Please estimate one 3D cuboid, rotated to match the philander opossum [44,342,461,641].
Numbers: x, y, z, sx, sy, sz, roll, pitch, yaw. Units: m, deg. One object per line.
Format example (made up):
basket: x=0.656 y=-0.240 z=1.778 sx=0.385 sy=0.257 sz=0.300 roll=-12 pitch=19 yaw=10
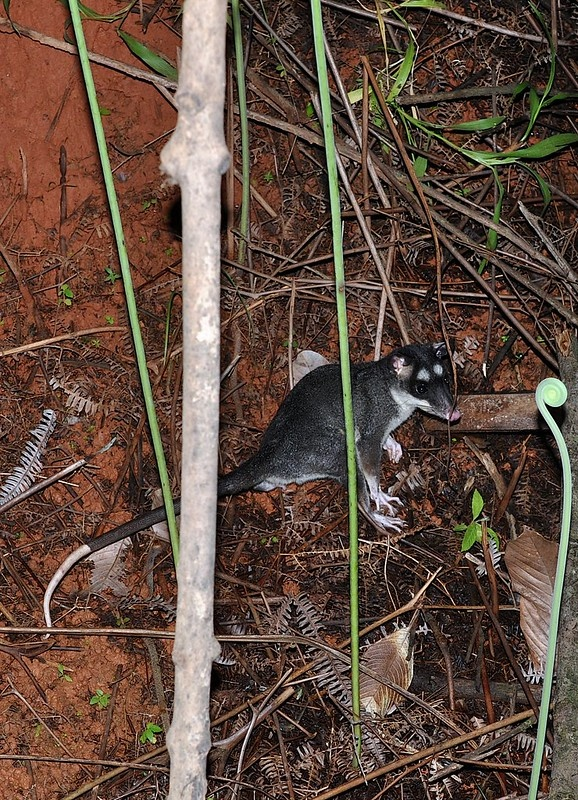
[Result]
philander opossum: x=0.032 y=0.167 z=3.225 sx=1.309 sy=0.847 sz=0.420 roll=4 pitch=-11 yaw=-8
